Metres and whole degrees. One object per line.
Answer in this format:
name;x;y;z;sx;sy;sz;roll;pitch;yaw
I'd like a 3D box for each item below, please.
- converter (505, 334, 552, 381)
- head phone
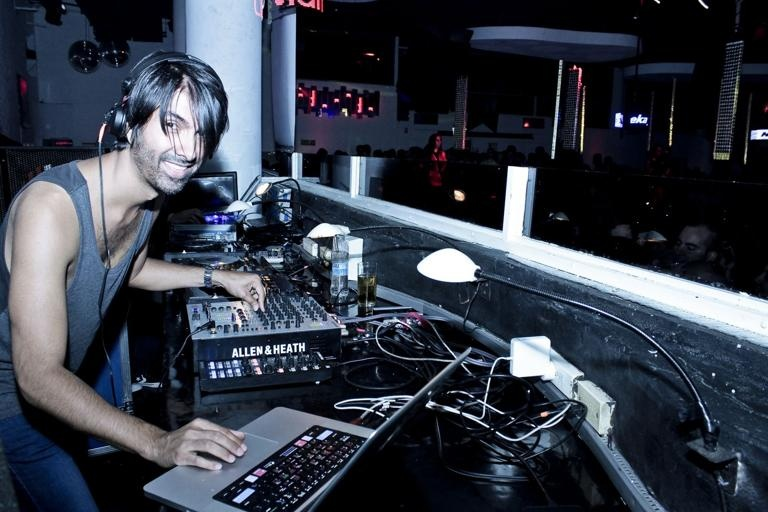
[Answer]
converter;0.465;0.326;1.773;0.155;0.133;0.059;1;-2;-2
head phone;-0.596;-0.441;1.693;0.303;0.269;0.247;28;7;28
